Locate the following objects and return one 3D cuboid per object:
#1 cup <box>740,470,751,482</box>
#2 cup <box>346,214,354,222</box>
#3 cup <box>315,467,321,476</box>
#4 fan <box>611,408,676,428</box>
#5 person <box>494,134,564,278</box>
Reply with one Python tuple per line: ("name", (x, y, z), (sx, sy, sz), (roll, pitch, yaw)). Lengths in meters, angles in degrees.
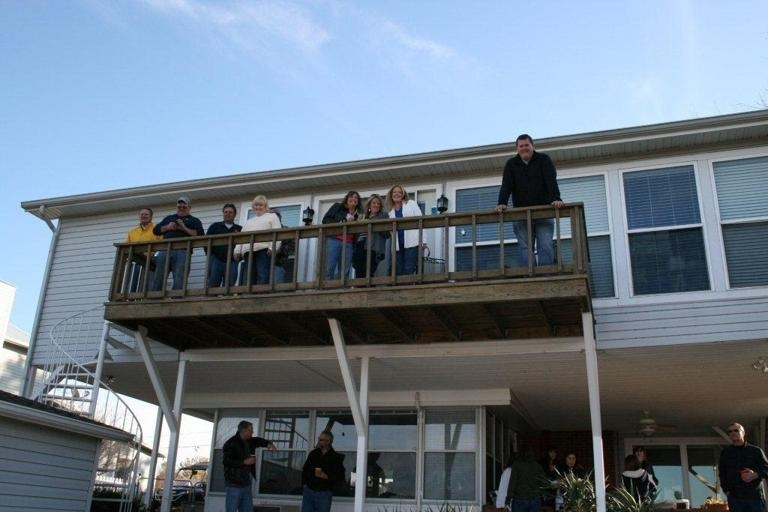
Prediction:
("cup", (6.218, 3.730, 12.039), (0.146, 0.203, 0.122), (0, -23, 0))
("cup", (-0.667, -0.747, 13.545), (0.161, 0.154, 0.157), (-2, -19, -1))
("cup", (-1.220, 4.060, 13.320), (0.138, 0.123, 0.134), (-1, -3, 0))
("fan", (6.473, 4.066, 17.425), (1.032, 0.473, 1.068), (-3, -20, 8))
("person", (2.607, -0.888, 12.553), (1.034, 2.458, 1.053), (-4, -23, 9))
